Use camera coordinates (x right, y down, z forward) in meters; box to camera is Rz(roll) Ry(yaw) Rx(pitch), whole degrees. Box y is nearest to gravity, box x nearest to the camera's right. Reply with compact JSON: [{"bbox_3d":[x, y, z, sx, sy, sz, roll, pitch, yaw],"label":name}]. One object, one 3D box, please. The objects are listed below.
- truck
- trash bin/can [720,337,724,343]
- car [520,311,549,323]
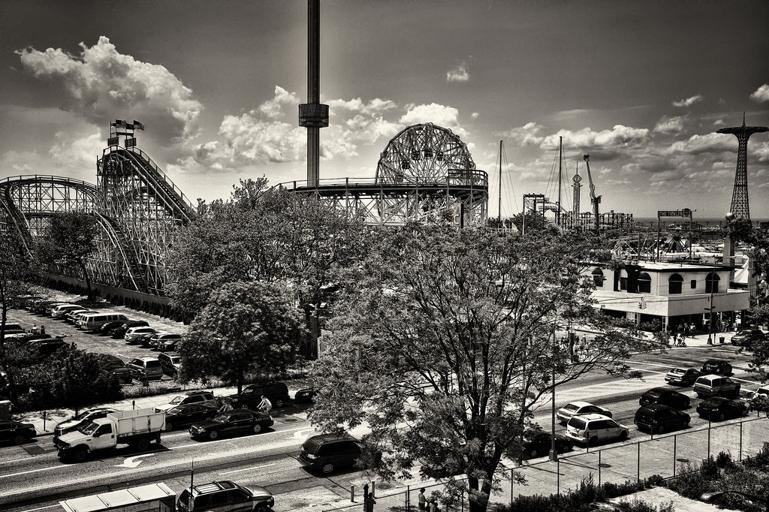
[{"bbox_3d":[-20.831,13.813,62.608,6.720,2.651,3.397,2,-2,-34],"label":"truck"},{"bbox_3d":[40.216,10.084,97.742,0.540,0.595,0.551,-2,-2,39],"label":"trash bin/can"},{"bbox_3d":[10.096,4.113,54.788,1.879,0.891,0.998,-9,6,-4],"label":"car"}]
